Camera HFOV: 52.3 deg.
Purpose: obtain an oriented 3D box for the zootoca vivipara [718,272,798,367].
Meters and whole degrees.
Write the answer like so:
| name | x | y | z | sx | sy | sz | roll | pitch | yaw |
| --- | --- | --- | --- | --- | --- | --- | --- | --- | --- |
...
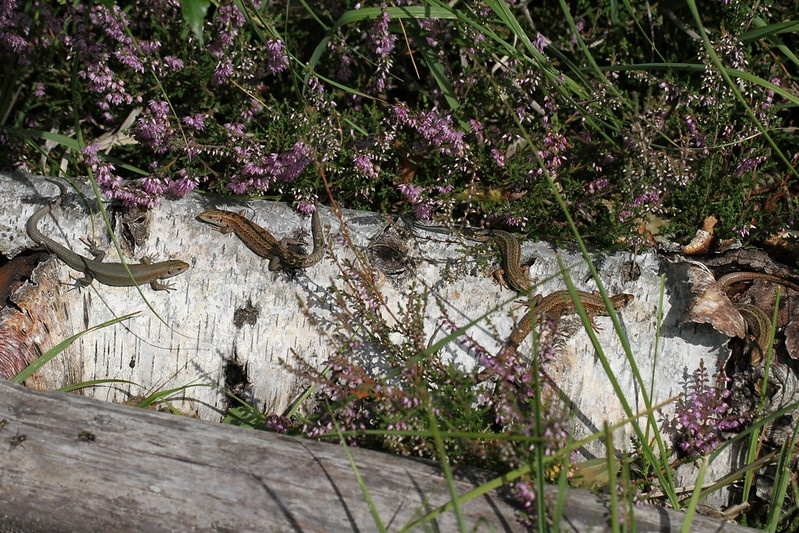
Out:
| name | x | y | z | sx | sy | sz | roll | pitch | yaw |
| --- | --- | --- | --- | --- | --- | --- | --- | --- | --- |
| zootoca vivipara | 3.059 | 0.394 | 6.937 | 0.717 | 0.160 | 0.760 | 26 | 70 | 12 |
